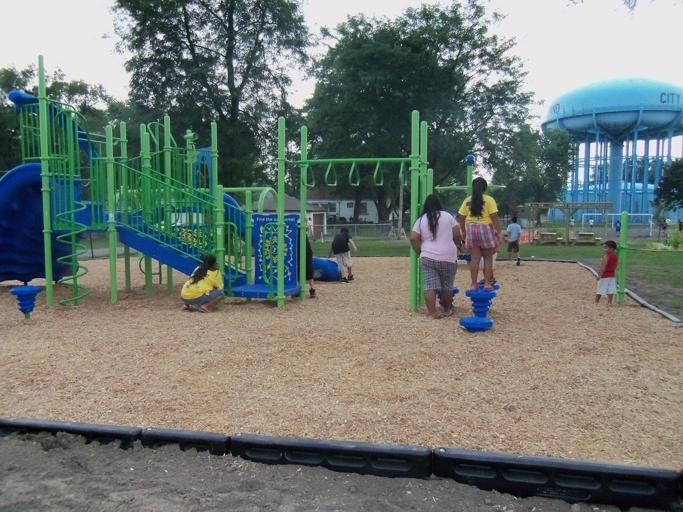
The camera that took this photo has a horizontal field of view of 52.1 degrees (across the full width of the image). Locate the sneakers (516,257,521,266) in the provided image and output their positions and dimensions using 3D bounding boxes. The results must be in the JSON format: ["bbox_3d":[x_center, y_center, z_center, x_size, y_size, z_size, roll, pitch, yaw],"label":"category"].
[{"bbox_3d":[5.295,0.178,20.927,0.106,0.136,0.320,1,-30,10],"label":"sneakers"}]

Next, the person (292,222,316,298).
[{"bbox_3d":[-0.651,0.192,13.559,0.367,1.056,0.764,-7,9,-4],"label":"person"}]

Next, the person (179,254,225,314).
[{"bbox_3d":[-2.399,0.476,12.199,0.741,1.003,0.731,14,4,20],"label":"person"}]

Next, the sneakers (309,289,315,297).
[{"bbox_3d":[-0.582,0.718,13.582,0.148,0.195,0.439,-2,0,-1],"label":"sneakers"}]

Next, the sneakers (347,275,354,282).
[{"bbox_3d":[0.196,0.532,16.470,0.147,0.175,0.411,-2,-1,5],"label":"sneakers"}]

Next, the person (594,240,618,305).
[{"bbox_3d":[4.728,0.289,12.412,0.360,1.102,0.667,1,8,20],"label":"person"}]
